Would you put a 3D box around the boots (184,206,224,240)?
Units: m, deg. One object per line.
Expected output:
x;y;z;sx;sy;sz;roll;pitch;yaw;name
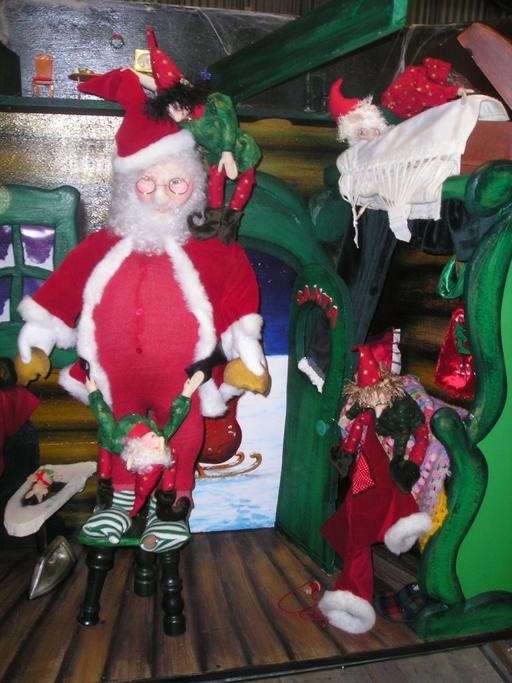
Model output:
-0.159;-0.378;1.829;0.106;0.106;0.042;-10;-12;11;boots

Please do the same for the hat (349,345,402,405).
0.393;0.124;1.884;0.186;0.213;0.116;3;11;4;hat

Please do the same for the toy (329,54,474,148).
0.480;-0.775;1.958;0.432;0.190;0.259;-13;34;23;toy

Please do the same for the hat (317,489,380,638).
0.329;0.730;1.978;0.207;0.481;0.300;4;11;8;hat

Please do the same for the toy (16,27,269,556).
-0.364;-0.090;1.805;0.816;1.510;0.417;3;11;1;toy

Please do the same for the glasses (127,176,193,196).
-0.293;-0.494;1.805;0.161;0.064;0.023;0;12;-9;glasses

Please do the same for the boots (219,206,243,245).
-0.082;-0.378;1.845;0.079;0.111;0.036;10;-4;-20;boots
